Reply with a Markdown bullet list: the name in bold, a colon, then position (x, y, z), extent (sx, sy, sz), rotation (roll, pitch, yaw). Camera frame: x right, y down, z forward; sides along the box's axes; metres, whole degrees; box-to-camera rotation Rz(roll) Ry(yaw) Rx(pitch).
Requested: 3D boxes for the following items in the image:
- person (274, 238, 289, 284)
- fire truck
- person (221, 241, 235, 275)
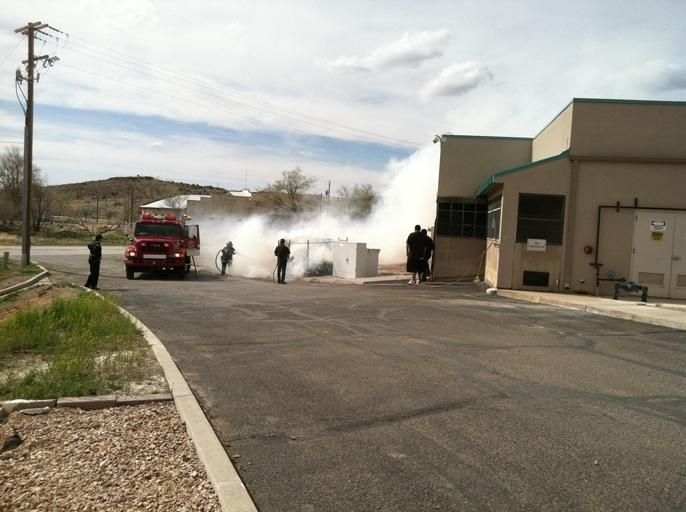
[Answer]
- **person**: position (-2.670, 0.222, 22.301), extent (0.513, 1.592, 2.128), rotation (3, 0, -7)
- **fire truck**: position (-7.986, -0.487, 23.163), extent (2.130, 1.701, 3.527), rotation (0, -3, -7)
- **person**: position (-6.040, 0.122, 26.648), extent (0.581, 1.368, 2.445), rotation (3, 0, -14)
